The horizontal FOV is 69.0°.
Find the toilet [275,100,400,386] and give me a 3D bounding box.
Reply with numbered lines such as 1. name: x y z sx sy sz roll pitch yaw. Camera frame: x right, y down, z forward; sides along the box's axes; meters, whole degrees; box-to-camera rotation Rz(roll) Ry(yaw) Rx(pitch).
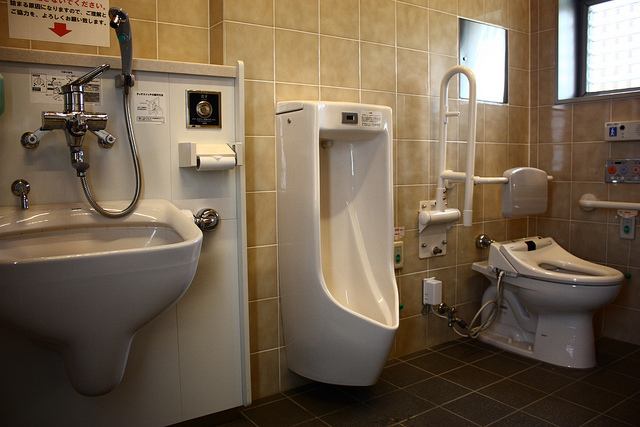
1. toilet: 0.083 0.219 2.493 0.648 1.579 0.529 -1 14 -2

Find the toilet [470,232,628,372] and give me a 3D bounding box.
1. toilet: 1.486 0.584 3.123 0.670 0.760 0.845 -1 4 -30

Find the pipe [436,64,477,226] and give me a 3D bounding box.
1. pipe: 0.881 -0.425 2.998 0.252 1.006 0.468 4 14 18

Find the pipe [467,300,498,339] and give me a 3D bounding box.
1. pipe: 1.038 0.690 3.063 0.045 0.272 0.208 15 -1 35
